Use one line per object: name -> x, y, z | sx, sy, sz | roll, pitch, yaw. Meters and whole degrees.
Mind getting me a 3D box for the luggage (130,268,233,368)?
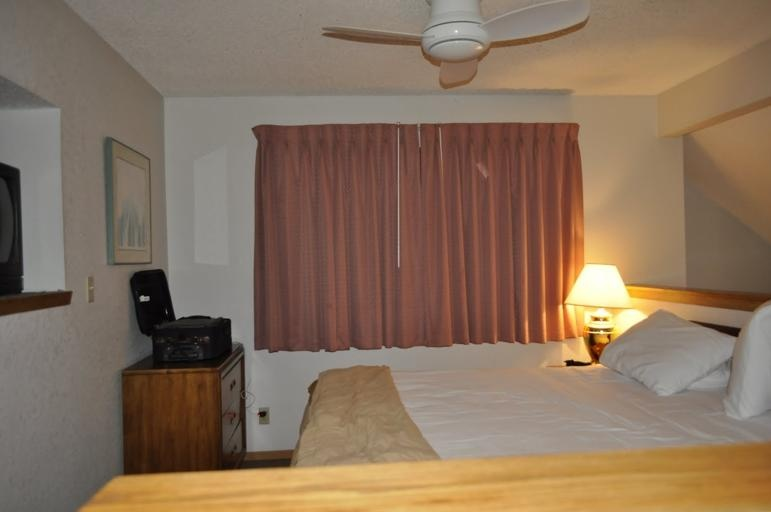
luggage -> -1.564, 0.421, 4.669 | 0.660, 0.712, 0.790 | -1, 0, -5
